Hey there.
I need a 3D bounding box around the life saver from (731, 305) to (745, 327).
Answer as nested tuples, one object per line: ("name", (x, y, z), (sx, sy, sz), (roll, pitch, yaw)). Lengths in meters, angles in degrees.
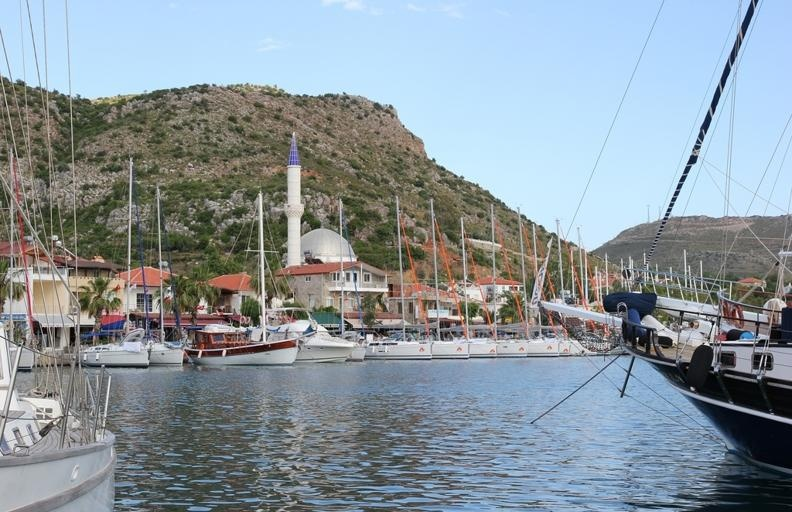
("life saver", (12.935, 2.291, 27.740), (0.356, 0.934, 0.809), (-5, -12, 4))
